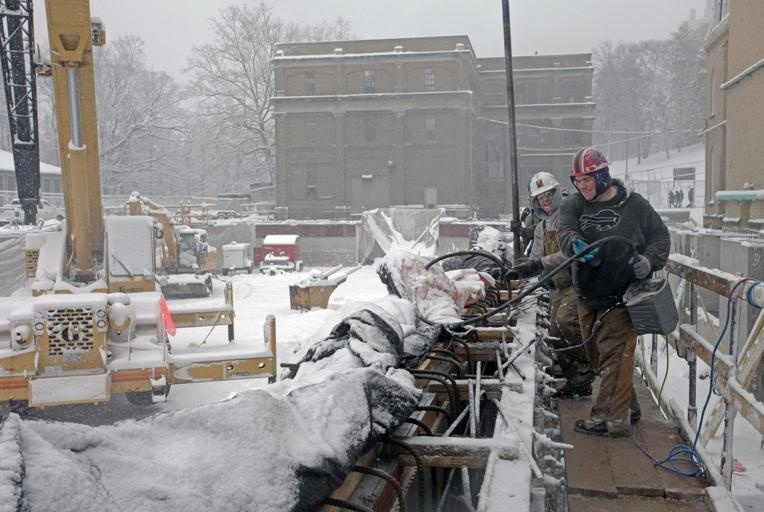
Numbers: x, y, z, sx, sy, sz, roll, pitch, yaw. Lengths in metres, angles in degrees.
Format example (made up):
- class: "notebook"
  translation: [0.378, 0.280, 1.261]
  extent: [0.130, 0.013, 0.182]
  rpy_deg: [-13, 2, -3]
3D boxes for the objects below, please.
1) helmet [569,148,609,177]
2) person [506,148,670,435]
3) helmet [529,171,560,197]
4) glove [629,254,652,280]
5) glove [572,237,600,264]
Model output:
- class: "helmet"
  translation: [2.076, -0.949, 6.927]
  extent: [0.339, 0.191, 0.256]
  rpy_deg: [-22, 20, -36]
- class: "person"
  translation: [2.309, 0.370, 7.009]
  extent: [1.033, 2.902, 0.869]
  rpy_deg: [-2, 4, 14]
- class: "helmet"
  translation: [2.090, -0.883, 9.031]
  extent: [0.294, 0.262, 0.405]
  rpy_deg: [-16, 8, 28]
- class: "glove"
  translation: [2.487, 0.097, 6.711]
  extent: [0.170, 0.255, 0.095]
  rpy_deg: [0, 4, 17]
- class: "glove"
  translation: [1.955, -0.034, 6.716]
  extent: [0.245, 0.248, 0.514]
  rpy_deg: [-2, 4, 17]
